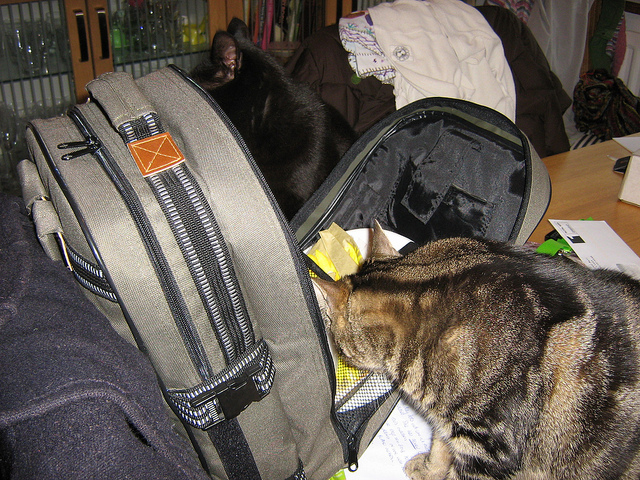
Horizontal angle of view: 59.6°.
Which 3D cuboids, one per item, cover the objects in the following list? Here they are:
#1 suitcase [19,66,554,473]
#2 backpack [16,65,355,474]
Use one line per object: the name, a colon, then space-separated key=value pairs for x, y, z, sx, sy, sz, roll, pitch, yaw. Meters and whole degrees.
suitcase: x=-0.016 y=-0.071 z=1.396 sx=1.091 sy=0.827 sz=0.761 roll=-34 pitch=57 yaw=-28
backpack: x=-0.224 y=0.074 z=0.991 sx=0.280 sy=0.790 sz=0.557 roll=-27 pitch=36 yaw=-13
